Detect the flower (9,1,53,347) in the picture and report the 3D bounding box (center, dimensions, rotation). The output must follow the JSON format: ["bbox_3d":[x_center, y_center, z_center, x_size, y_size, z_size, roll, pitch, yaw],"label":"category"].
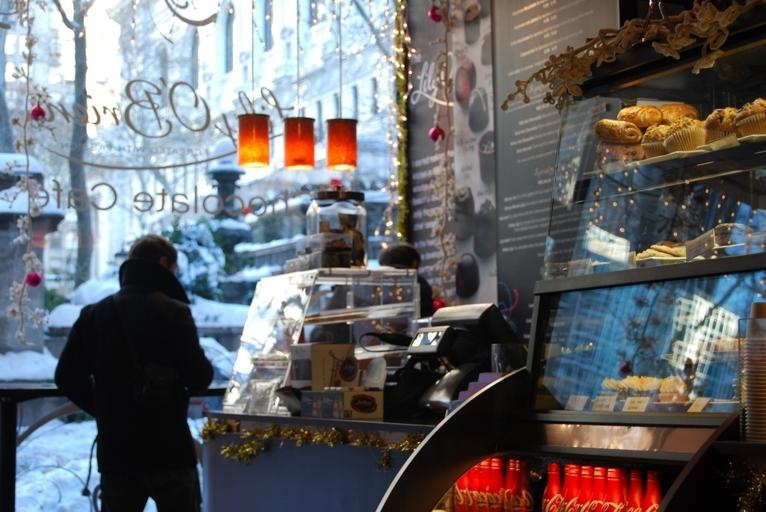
[{"bbox_3d":[-2.586,-0.615,6.981,0.269,2.526,0.631,-2,5,-21],"label":"flower"}]

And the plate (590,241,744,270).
[{"bbox_3d":[1.142,0.001,3.879,0.601,0.130,0.085,3,6,26],"label":"plate"}]

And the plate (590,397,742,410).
[{"bbox_3d":[1.133,0.578,3.722,0.426,0.063,0.032,-4,-17,32],"label":"plate"}]
